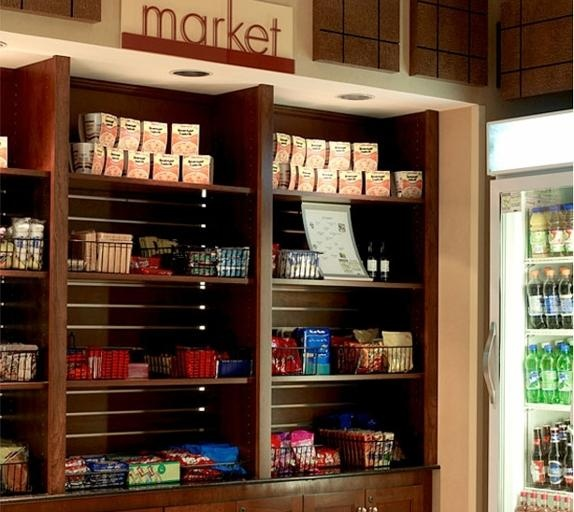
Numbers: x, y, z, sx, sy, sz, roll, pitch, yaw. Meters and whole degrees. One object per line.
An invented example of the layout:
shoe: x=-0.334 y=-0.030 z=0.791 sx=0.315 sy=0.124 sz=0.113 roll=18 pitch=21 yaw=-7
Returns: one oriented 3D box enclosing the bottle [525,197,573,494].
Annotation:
bottle: x=1.365 y=0.472 z=2.993 sx=0.260 sy=1.462 sz=0.327 roll=-3 pitch=-4 yaw=18
